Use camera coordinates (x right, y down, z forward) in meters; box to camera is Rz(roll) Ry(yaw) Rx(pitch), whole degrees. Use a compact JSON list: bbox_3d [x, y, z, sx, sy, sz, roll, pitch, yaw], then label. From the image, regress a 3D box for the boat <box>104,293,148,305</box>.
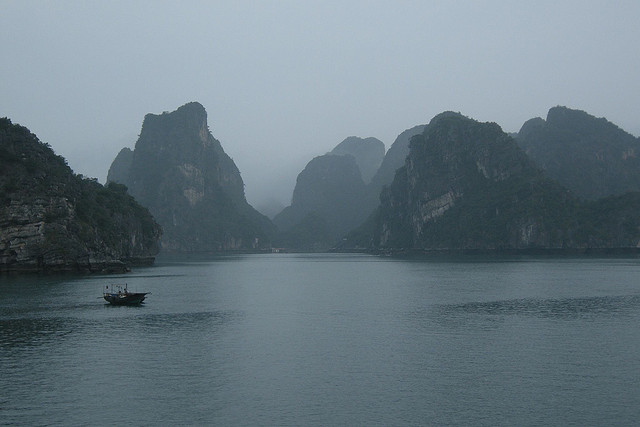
[{"bbox_3d":[-29.446,12.984,93.381,6.666,1.634,2.463,-11,-11,28],"label":"boat"}]
